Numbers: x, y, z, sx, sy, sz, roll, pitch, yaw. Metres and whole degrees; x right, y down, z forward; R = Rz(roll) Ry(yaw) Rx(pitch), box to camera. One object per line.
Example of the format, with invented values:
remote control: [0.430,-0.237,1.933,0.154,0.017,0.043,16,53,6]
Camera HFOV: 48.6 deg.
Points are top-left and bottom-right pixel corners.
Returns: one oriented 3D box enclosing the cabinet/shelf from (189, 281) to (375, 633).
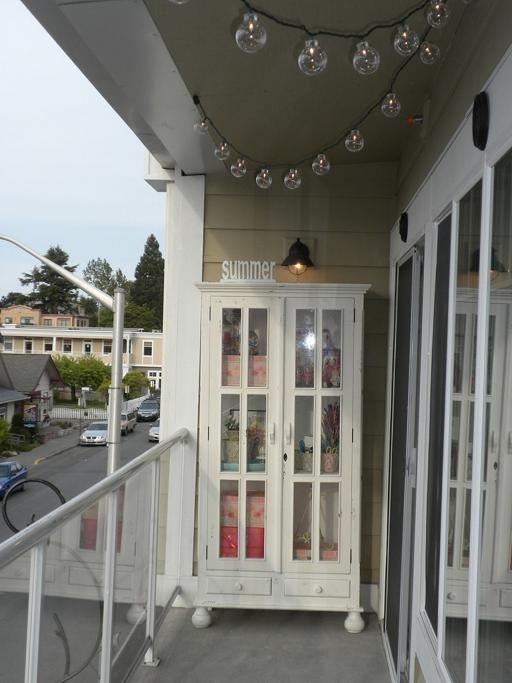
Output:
cabinet/shelf: [0.129,0.594,3.187,0.839,1.860,0.547,1,5,1]

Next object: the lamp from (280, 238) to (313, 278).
lamp: [0.236,-0.472,3.256,0.187,0.222,0.196,0,-1,-3]
